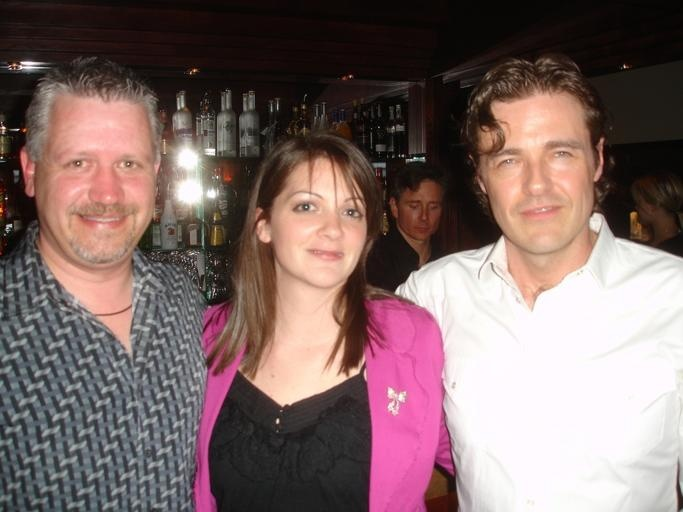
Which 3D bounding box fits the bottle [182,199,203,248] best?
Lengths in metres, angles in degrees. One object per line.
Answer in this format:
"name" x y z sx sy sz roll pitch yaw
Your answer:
"bottle" -1.161 -0.255 4.192 0.144 0.447 0.125 3 45 -13
